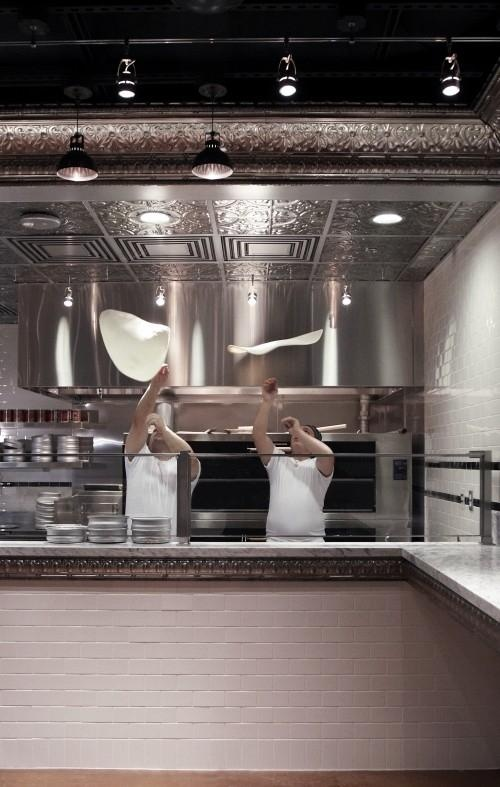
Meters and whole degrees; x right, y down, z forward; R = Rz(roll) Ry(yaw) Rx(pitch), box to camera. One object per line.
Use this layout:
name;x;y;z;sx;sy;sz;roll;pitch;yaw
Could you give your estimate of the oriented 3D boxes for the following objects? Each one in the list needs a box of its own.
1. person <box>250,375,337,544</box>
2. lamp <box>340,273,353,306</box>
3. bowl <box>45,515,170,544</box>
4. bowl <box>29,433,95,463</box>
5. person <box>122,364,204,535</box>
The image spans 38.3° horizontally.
person;0.164;0.407;2.966;0.326;0.945;0.267;7;-40;-3
lamp;0.716;-0.762;5.338;0.076;0.199;0.200;1;-4;7
bowl;-0.544;0.526;2.759;0.481;0.113;0.172;1;-5;-2
bowl;-1.238;0.361;4.665;0.245;0.125;0.324;1;-7;-5
person;-0.373;0.223;3.055;0.315;0.724;0.829;2;-5;-9
